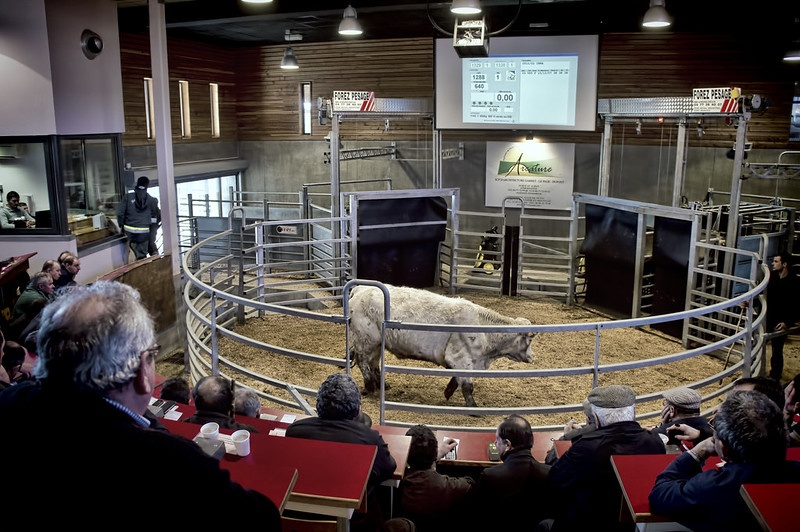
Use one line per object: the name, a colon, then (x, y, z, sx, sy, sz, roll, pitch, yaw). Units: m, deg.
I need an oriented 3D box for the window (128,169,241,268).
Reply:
window: (-4.977, -1.063, 12.294, 1.538, 2.636, 2.828, 3, 10, 18)

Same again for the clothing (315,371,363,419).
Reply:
clothing: (-0.366, 0.811, 3.391, 0.239, 0.291, 0.297, 1, 2, 2)

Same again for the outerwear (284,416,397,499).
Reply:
outerwear: (-0.308, 1.047, 3.124, 0.494, 0.116, 0.523, 5, 10, 23)

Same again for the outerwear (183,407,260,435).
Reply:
outerwear: (-1.108, 0.961, 3.284, 0.314, 0.070, 0.202, 12, 12, 14)

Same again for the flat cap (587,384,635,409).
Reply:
flat cap: (1.348, 0.832, 3.392, 0.288, 0.111, 0.194, 1, 7, 2)

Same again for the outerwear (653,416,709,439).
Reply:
outerwear: (1.909, 1.056, 3.516, 0.236, 0.054, 0.227, -4, 3, 7)

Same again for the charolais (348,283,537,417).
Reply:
charolais: (0.556, 1.102, 7.007, 2.603, 1.353, 0.791, 5, 4, 3)

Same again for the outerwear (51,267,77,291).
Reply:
outerwear: (-3.682, 0.136, 5.846, 0.100, 0.273, 0.212, 3, 3, 35)

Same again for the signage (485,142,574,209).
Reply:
signage: (3.576, -2.466, 14.388, 2.296, 1.629, 0.079, 3, 7, 23)

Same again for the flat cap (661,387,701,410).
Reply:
flat cap: (1.917, 0.901, 3.643, 0.170, 0.056, 0.179, -5, 16, -21)

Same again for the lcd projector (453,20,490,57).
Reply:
lcd projector: (1.161, -3.765, 8.776, 0.494, 0.576, 0.442, 3, 7, 20)
